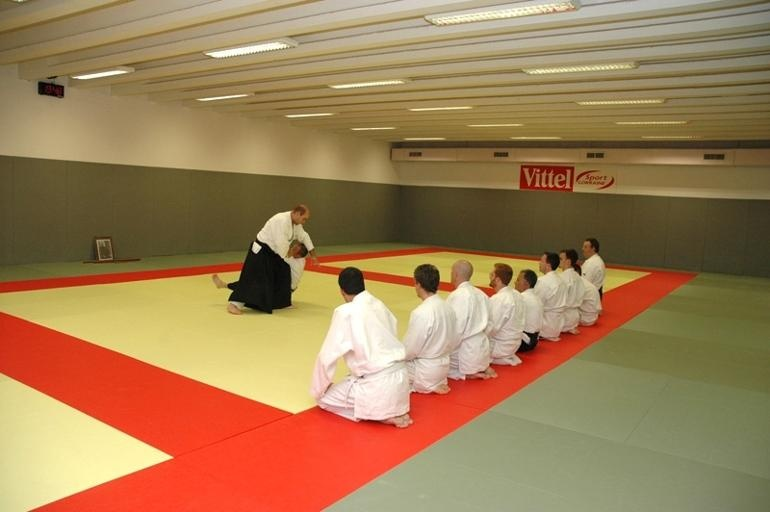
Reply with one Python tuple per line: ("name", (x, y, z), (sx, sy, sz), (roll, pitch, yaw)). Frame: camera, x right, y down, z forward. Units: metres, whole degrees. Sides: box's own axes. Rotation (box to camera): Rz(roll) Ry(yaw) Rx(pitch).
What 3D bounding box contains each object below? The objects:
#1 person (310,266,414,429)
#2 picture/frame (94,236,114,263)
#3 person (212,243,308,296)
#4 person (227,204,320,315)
("person", (-0.171, 0.943, 5.098), (1.104, 1.461, 0.992), (-7, 15, -31))
("picture/frame", (-7.182, -0.188, 12.484), (0.404, 0.589, 0.385), (-7, 16, -35))
("person", (-2.214, 0.254, 8.879), (1.741, 0.743, 1.160), (-15, 2, -10))
("person", (-2.012, 0.048, 8.498), (1.398, 1.890, 0.694), (-2, 13, -17))
